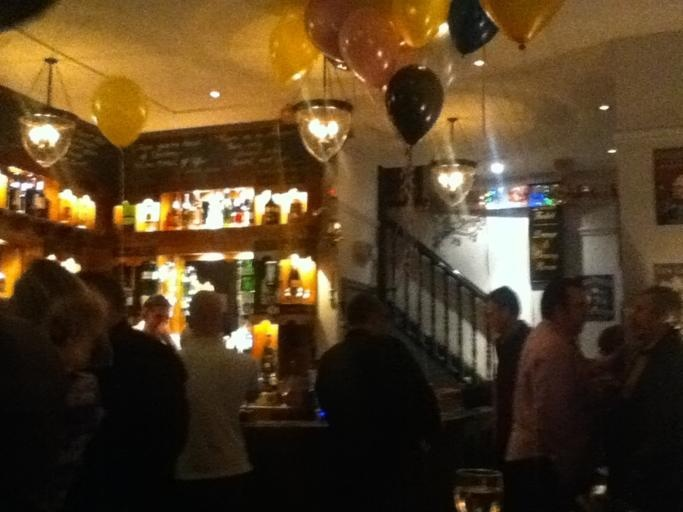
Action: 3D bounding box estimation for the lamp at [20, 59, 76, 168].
[{"bbox_3d":[-2.636,-1.239,5.535,0.418,0.945,1.160,1,-2,-23],"label":"lamp"}]

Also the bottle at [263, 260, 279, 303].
[{"bbox_3d":[-0.822,0.303,7.149,0.178,0.496,0.081,0,-3,-8],"label":"bottle"}]

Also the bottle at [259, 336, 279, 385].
[{"bbox_3d":[-0.829,1.184,6.965,0.199,0.498,0.324,0,-2,-7],"label":"bottle"}]

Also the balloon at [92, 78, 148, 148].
[{"bbox_3d":[-1.765,-1.149,4.890,0.516,0.562,0.527,-5,-1,-19],"label":"balloon"}]
